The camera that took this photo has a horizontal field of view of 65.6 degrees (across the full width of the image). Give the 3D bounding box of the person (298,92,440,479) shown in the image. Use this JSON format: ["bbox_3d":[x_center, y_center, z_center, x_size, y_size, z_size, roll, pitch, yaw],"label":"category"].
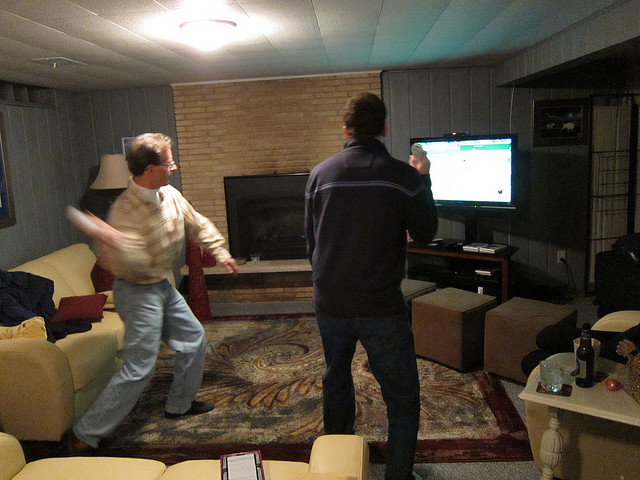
[{"bbox_3d":[0.239,0.260,2.563,0.684,1.981,0.347,1,13,12],"label":"person"}]

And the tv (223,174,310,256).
[{"bbox_3d":[-0.562,-0.309,5.405,0.980,0.757,0.302,-1,7,1],"label":"tv"}]

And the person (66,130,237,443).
[{"bbox_3d":[-1.116,0.304,3.240,1.074,1.946,0.373,-9,15,-31],"label":"person"}]

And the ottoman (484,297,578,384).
[{"bbox_3d":[1.560,0.764,3.765,0.481,0.522,0.500,-12,16,-42],"label":"ottoman"}]

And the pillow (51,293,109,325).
[{"bbox_3d":[-1.936,0.548,4.018,0.410,0.105,0.410,-1,22,-12],"label":"pillow"}]

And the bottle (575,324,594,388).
[{"bbox_3d":[1.365,0.571,2.551,0.093,0.315,0.207,5,14,28],"label":"bottle"}]

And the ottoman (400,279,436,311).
[{"bbox_3d":[0.801,0.455,4.085,0.367,0.156,0.380,-9,6,16],"label":"ottoman"}]

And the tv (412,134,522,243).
[{"bbox_3d":[1.408,-0.537,4.637,1.214,1.127,0.363,3,7,32],"label":"tv"}]

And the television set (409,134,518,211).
[{"bbox_3d":[1.370,-0.638,4.559,1.018,0.666,0.093,4,11,33],"label":"television set"}]

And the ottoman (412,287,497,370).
[{"bbox_3d":[1.195,0.743,4.171,0.871,0.540,0.858,0,5,25],"label":"ottoman"}]

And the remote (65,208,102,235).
[{"bbox_3d":[-1.407,-0.127,2.910,0.166,0.047,0.169,34,-13,6],"label":"remote"}]

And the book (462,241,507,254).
[{"bbox_3d":[1.626,0.077,4.954,0.386,0.047,0.289,8,15,37],"label":"book"}]

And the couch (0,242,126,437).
[{"bbox_3d":[-1.796,0.730,3.487,0.531,0.482,1.269,0,19,-7],"label":"couch"}]

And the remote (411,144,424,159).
[{"bbox_3d":[0.522,-0.492,2.730,0.085,0.079,0.063,3,8,28],"label":"remote"}]
